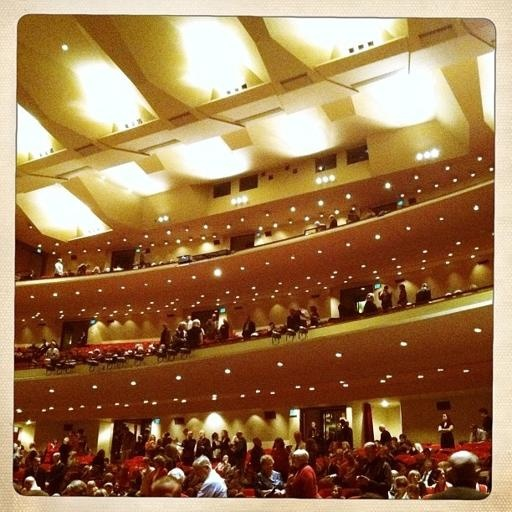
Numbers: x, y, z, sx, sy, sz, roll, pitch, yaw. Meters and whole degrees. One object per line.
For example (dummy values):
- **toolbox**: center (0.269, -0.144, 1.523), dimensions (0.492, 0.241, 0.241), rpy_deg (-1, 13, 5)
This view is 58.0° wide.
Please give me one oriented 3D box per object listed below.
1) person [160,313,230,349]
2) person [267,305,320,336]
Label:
- **person**: center (-1.495, 2.005, 11.678), dimensions (1.411, 0.679, 1.091), rpy_deg (-12, -10, 36)
- **person**: center (0.948, 1.595, 10.997), dimensions (1.010, 0.386, 0.796), rpy_deg (-1, -3, -32)
